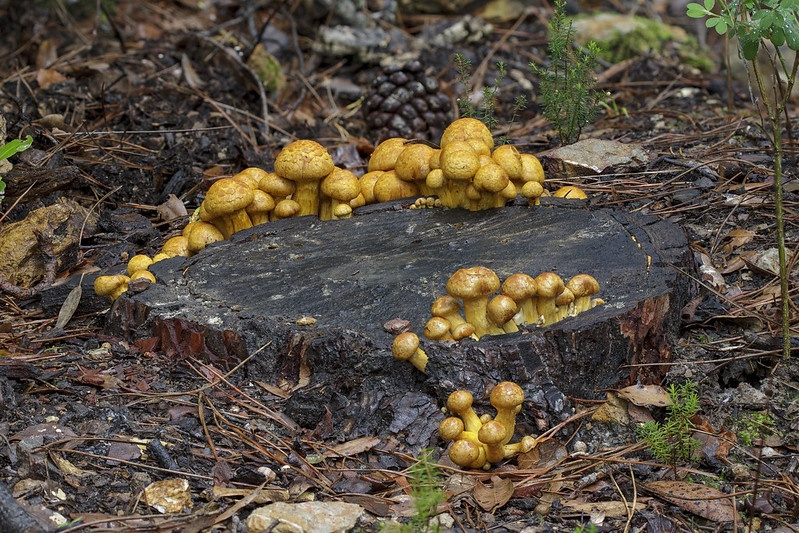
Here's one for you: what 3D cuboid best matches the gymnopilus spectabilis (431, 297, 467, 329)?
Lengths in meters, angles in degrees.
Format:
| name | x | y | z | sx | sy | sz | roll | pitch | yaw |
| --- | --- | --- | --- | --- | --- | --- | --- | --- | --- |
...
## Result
| name | x | y | z | sx | sy | sz | roll | pitch | yaw |
| --- | --- | --- | --- | --- | --- | --- | --- | --- | --- |
| gymnopilus spectabilis | 0.416 | 0.397 | 6.925 | 0.287 | 0.248 | 0.291 | -16 | 103 | -26 |

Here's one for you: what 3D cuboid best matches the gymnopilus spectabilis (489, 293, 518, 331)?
| name | x | y | z | sx | sy | sz | roll | pitch | yaw |
| --- | --- | --- | --- | --- | --- | --- | --- | --- | --- |
| gymnopilus spectabilis | 0.886 | 0.372 | 6.764 | 0.188 | 0.280 | 0.184 | -36 | 40 | 16 |

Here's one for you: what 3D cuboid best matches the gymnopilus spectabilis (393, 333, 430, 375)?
| name | x | y | z | sx | sy | sz | roll | pitch | yaw |
| --- | --- | --- | --- | --- | --- | --- | --- | --- | --- |
| gymnopilus spectabilis | 0.121 | 0.715 | 6.770 | 0.224 | 0.376 | 0.233 | -47 | 46 | -14 |

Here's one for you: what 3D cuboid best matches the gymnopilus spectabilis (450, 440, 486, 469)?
| name | x | y | z | sx | sy | sz | roll | pitch | yaw |
| --- | --- | --- | --- | --- | --- | --- | --- | --- | --- |
| gymnopilus spectabilis | 0.548 | 1.497 | 6.520 | 0.280 | 0.257 | 0.124 | 15 | 104 | -7 |

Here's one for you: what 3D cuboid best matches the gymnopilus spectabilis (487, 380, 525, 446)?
| name | x | y | z | sx | sy | sz | roll | pitch | yaw |
| --- | --- | --- | --- | --- | --- | --- | --- | --- | --- |
| gymnopilus spectabilis | 0.861 | 1.173 | 6.564 | 0.306 | 0.503 | 0.257 | -15 | 45 | -17 |

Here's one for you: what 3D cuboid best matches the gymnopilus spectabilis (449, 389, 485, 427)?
| name | x | y | z | sx | sy | sz | roll | pitch | yaw |
| --- | --- | --- | --- | --- | --- | --- | --- | --- | --- |
| gymnopilus spectabilis | 0.571 | 1.200 | 6.671 | 0.223 | 0.405 | 0.186 | -23 | 26 | 16 |

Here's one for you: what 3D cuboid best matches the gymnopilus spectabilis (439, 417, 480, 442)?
| name | x | y | z | sx | sy | sz | roll | pitch | yaw |
| --- | --- | --- | --- | --- | --- | --- | --- | --- | --- |
| gymnopilus spectabilis | 0.495 | 1.331 | 6.578 | 0.314 | 0.200 | 0.173 | 6 | 67 | 6 |

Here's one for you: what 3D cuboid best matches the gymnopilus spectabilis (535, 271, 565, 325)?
| name | x | y | z | sx | sy | sz | roll | pitch | yaw |
| --- | --- | --- | --- | --- | --- | --- | --- | --- | --- |
| gymnopilus spectabilis | 1.259 | 0.266 | 6.842 | 0.261 | 0.327 | 0.383 | 13 | 67 | 9 |
